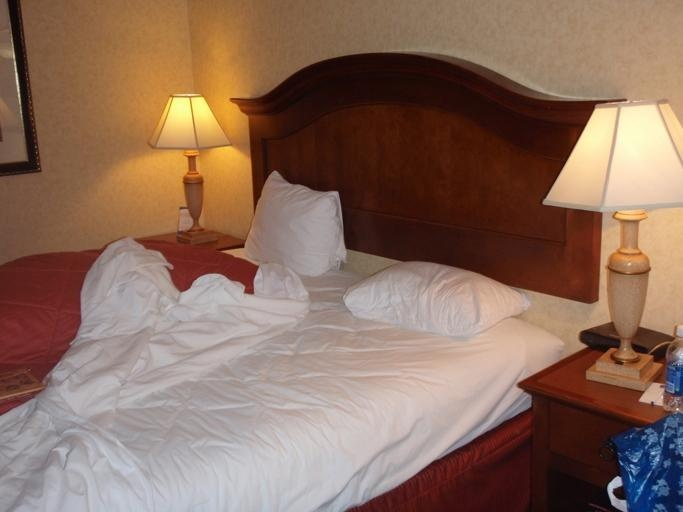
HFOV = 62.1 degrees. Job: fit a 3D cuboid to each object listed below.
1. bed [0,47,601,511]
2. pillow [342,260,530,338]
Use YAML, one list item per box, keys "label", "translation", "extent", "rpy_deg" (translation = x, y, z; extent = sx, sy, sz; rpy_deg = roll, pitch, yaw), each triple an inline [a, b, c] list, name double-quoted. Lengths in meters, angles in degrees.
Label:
- label: "bed"
  translation: [-0.137, 0.058, 2.441]
  extent: [0.918, 1.818, 1.701]
  rpy_deg: [-15, 25, -30]
- label: "pillow"
  translation: [0.375, 0.179, 2.439]
  extent: [0.495, 0.167, 0.376]
  rpy_deg: [9, 18, 42]
